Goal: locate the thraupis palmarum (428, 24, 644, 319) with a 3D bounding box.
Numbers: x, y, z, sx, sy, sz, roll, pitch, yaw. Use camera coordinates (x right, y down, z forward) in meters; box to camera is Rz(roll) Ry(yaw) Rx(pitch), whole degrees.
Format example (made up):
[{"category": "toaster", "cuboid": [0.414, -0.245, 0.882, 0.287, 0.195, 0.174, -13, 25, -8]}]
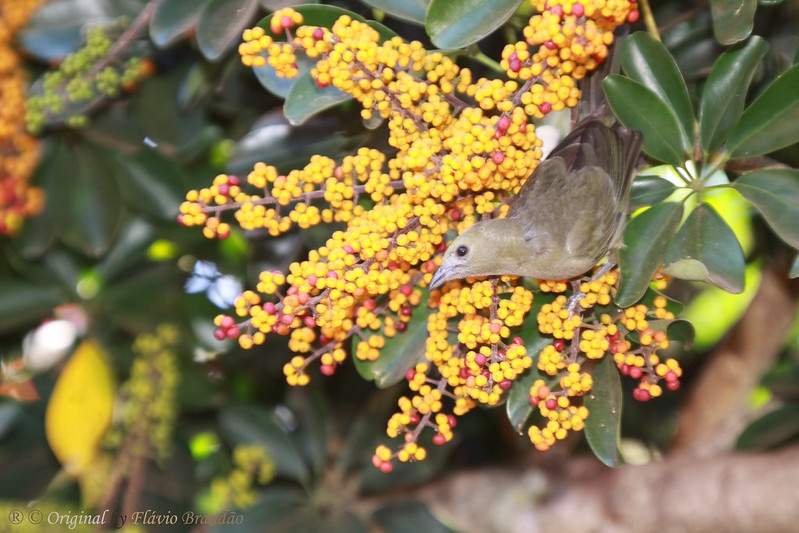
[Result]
[{"category": "thraupis palmarum", "cuboid": [0.494, -0.182, 3.538, 0.758, 0.479, 1.307, 10, 97, -14]}]
